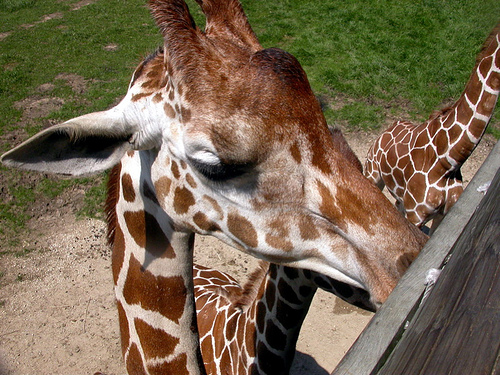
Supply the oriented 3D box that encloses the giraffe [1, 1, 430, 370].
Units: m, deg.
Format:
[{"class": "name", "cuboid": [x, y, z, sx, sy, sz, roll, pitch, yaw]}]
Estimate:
[{"class": "giraffe", "cuboid": [0.038, -0.894, 8.589, 4.062, 6.153, 3.622, 3, 25, 19]}]
